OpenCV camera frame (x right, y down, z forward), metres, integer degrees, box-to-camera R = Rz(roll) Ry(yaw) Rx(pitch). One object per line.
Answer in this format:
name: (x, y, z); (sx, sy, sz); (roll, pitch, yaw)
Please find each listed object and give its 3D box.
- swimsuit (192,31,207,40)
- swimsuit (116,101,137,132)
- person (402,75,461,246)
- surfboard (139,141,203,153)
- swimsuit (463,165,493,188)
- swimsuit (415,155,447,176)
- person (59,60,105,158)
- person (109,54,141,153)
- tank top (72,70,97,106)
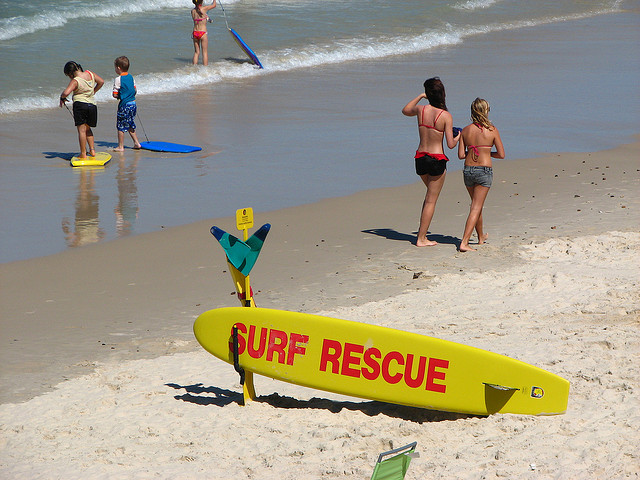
swimsuit: (-2.814, -4.783, 20.988); (0.310, 0.189, 0.149); (-2, 22, 4)
swimsuit: (-3.174, -2.032, 14.788); (0.160, 0.479, 0.410); (12, 27, 34)
person: (1.419, -0.982, 11.296); (0.673, 2.086, 0.660); (-4, 24, 5)
surfboard: (-2.481, -1.545, 14.923); (0.723, 0.061, 0.377); (5, 12, 15)
swimsuit: (1.982, -0.802, 11.202); (0.426, 0.237, 0.293); (2, 1, 34)
swimsuit: (1.357, -0.952, 11.256); (0.463, 0.265, 0.257); (11, 28, 24)
person: (-3.695, -2.058, 14.225); (0.687, 1.530, 0.943); (-11, 23, -11)
person: (-3.345, -2.346, 15.149); (0.540, 1.517, 1.404); (-10, 22, -9)
tank top: (-3.675, -2.353, 13.997); (0.440, 0.508, 0.238); (-18, 26, -29)
